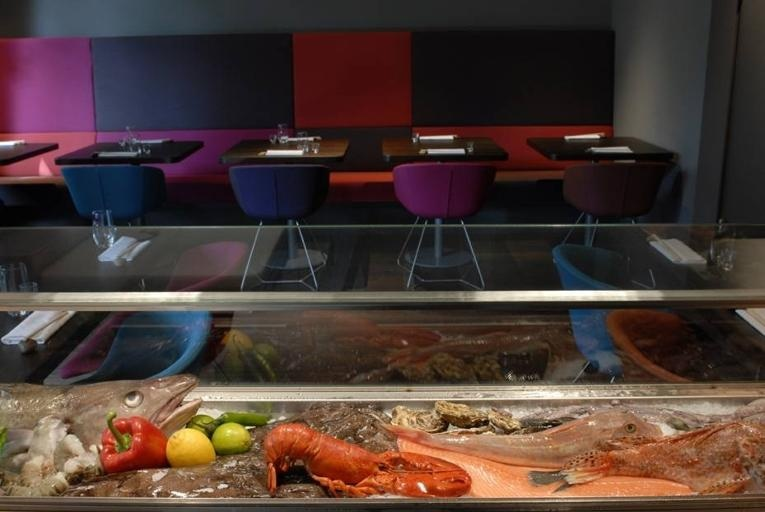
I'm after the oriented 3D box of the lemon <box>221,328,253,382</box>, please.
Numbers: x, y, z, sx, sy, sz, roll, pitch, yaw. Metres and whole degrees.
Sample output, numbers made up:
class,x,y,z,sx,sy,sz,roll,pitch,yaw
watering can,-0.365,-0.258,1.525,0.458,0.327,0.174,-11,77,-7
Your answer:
class,x,y,z,sx,sy,sz,roll,pitch,yaw
lemon,-0.320,0.215,1.145,0.082,0.099,0.057,-2,2,16

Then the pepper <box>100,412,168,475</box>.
class,x,y,z,sx,sy,sz,roll,pitch,yaw
pepper,-0.449,0.340,0.937,0.130,0.074,0.090,15,18,41

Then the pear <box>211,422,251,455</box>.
class,x,y,z,sx,sy,sz,roll,pitch,yaw
pear,-0.287,0.345,0.989,0.069,0.038,0.056,-10,24,-21

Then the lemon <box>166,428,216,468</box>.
class,x,y,z,sx,sy,sz,roll,pitch,yaw
lemon,-0.351,0.349,0.950,0.083,0.049,0.064,-10,24,-22
